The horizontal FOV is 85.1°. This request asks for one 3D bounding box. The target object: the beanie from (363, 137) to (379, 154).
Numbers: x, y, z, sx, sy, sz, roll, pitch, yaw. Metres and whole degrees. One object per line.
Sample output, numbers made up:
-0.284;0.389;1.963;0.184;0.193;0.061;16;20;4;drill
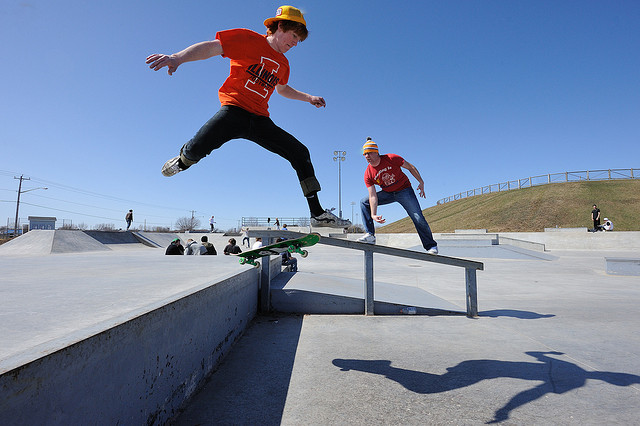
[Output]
0.775;-1.084;5.407;0.187;0.174;0.403;-1;0;9;beanie
